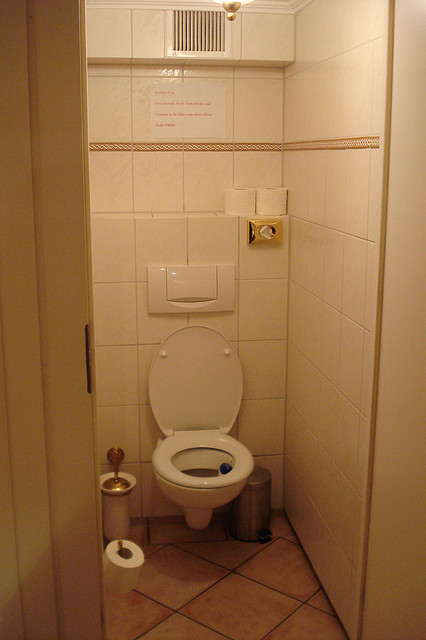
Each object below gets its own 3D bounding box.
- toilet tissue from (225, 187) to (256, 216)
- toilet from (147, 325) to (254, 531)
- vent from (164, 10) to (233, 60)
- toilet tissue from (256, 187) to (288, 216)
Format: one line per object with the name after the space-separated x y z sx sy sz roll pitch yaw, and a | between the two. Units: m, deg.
0.113 -0.505 2.213 0.106 0.098 0.117 3 17 10 | toilet tissue
-0.045 0.419 2.031 0.333 0.822 0.578 -2 9 -12 | toilet
-0.056 -1.121 2.047 0.267 0.185 0.028 -1 6 -5 | vent
0.252 -0.521 2.259 0.112 0.105 0.116 -14 23 -33 | toilet tissue
